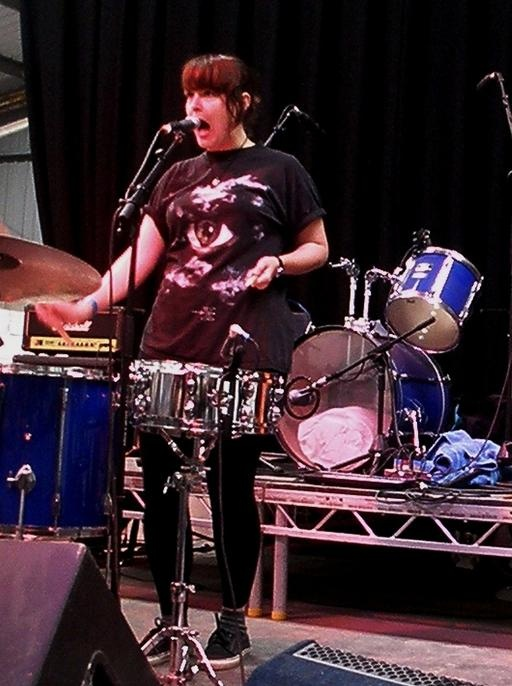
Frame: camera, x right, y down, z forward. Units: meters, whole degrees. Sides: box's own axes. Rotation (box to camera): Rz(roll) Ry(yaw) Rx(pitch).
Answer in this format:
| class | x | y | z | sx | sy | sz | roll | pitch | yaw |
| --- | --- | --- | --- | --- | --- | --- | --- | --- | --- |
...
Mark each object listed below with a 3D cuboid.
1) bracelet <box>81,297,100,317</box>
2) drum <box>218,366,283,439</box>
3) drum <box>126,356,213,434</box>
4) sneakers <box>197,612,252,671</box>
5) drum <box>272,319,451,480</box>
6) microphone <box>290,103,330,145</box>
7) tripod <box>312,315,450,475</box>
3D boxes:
| class | x | y | z | sx | sy | sz | roll | pitch | yaw |
| --- | --- | --- | --- | --- | --- | --- | --- | --- | --- |
| bracelet | -0.376 | -0.081 | 1.628 | 0.041 | 0.029 | 0.040 | 15 | -22 | -25 |
| drum | 0.004 | 0.117 | 1.378 | 0.133 | 0.126 | 0.133 | 6 | -3 | -30 |
| drum | -0.152 | 0.103 | 1.416 | 0.239 | 0.154 | 0.131 | 3 | 0 | 19 |
| sneakers | -0.073 | 0.685 | 1.621 | 0.077 | 0.106 | 0.189 | -16 | -18 | 24 |
| drum | 0.279 | 0.194 | 2.772 | 0.714 | 0.733 | 0.555 | -2 | -4 | 41 |
| microphone | 0.235 | -0.975 | 3.136 | 0.270 | 0.072 | 0.104 | 49 | 31 | 21 |
| tripod | 0.420 | 0.192 | 2.582 | 0.449 | 0.559 | 0.414 | 1 | -8 | 13 |
